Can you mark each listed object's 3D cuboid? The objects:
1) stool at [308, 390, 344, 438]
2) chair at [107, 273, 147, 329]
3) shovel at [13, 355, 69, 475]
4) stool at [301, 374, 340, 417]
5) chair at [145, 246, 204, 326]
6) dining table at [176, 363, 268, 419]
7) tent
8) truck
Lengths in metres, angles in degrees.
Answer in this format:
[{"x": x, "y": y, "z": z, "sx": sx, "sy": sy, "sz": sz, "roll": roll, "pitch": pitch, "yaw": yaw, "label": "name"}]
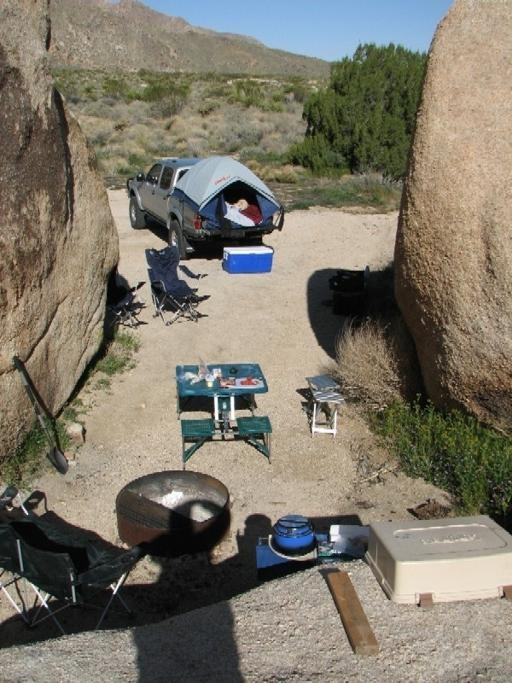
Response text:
[{"x": 0.693, "y": 0.755, "z": 6.794, "sx": 0.251, "sy": 0.401, "sz": 0.359, "roll": 4, "pitch": 10, "yaw": -8, "label": "stool"}, {"x": -1.839, "y": -0.731, "z": 9.308, "sx": 0.482, "sy": 0.658, "sz": 1.777, "roll": 0, "pitch": 20, "yaw": -10, "label": "chair"}, {"x": -1.900, "y": 0.587, "z": 5.955, "sx": 0.377, "sy": 1.204, "sz": 0.746, "roll": 0, "pitch": 19, "yaw": -9, "label": "shovel"}, {"x": 0.657, "y": 0.482, "z": 6.632, "sx": 0.314, "sy": 0.231, "sz": 0.778, "roll": -5, "pitch": 17, "yaw": -2, "label": "stool"}, {"x": -1.128, "y": -0.791, "z": 8.944, "sx": 0.569, "sy": 0.921, "sz": 1.019, "roll": -11, "pitch": 18, "yaw": -24, "label": "chair"}, {"x": -0.395, "y": 0.415, "z": 6.911, "sx": 0.885, "sy": 0.379, "sz": 1.037, "roll": 1, "pitch": 19, "yaw": -7, "label": "dining table"}, {"x": -0.477, "y": -2.384, "z": 11.904, "sx": 1.772, "sy": 1.678, "sz": 2.119, "roll": -8, "pitch": 21, "yaw": -20, "label": "tent"}, {"x": -1.212, "y": -2.767, "z": 12.752, "sx": 1.703, "sy": 1.621, "sz": 3.955, "roll": -9, "pitch": 25, "yaw": -28, "label": "truck"}]
